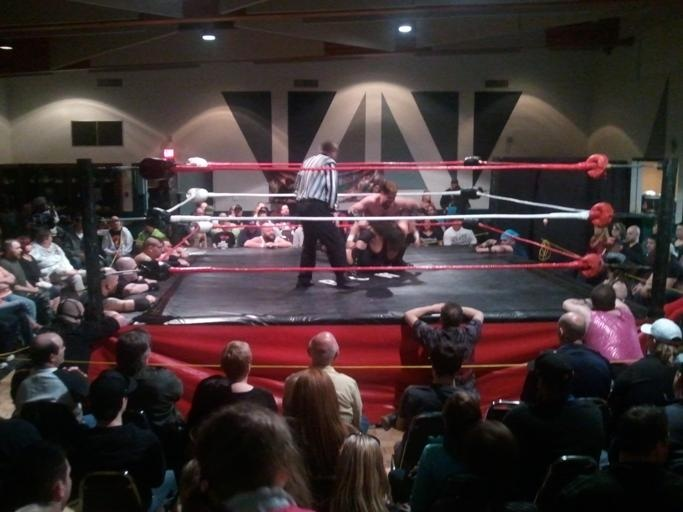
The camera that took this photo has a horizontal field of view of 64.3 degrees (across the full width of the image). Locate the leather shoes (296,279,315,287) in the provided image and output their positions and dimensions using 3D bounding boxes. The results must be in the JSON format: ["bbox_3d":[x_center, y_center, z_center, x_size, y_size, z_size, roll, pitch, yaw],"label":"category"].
[{"bbox_3d":[-0.310,0.231,4.635,0.148,0.091,0.048,-1,6,-11],"label":"leather shoes"}]

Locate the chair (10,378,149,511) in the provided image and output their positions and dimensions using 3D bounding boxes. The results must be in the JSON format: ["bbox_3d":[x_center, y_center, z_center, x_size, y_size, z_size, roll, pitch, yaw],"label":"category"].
[{"bbox_3d":[-1.227,0.966,2.631,0.575,0.517,0.923,-2,7,-28],"label":"chair"}]
